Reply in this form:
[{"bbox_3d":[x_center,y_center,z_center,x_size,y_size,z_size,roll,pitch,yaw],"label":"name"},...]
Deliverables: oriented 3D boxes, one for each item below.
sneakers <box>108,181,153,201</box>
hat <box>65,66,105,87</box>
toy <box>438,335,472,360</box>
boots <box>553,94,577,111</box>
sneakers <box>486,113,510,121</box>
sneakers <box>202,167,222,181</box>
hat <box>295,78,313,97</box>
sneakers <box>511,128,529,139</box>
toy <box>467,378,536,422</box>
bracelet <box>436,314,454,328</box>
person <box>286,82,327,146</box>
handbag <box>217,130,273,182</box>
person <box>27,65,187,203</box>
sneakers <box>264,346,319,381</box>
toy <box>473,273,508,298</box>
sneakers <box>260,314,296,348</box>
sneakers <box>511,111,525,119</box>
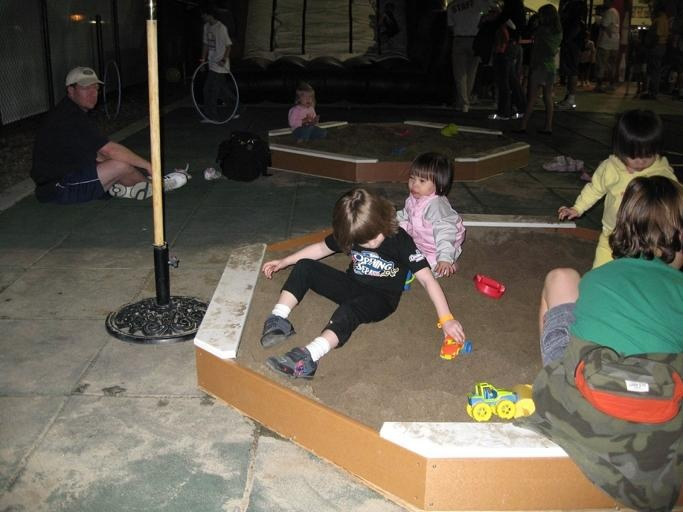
[{"bbox_3d":[-2.070,-0.651,5.039,0.511,0.175,0.203,6,15,-7],"label":"sneakers"},{"bbox_3d":[-2.319,-1.598,4.458,0.240,0.165,0.442,-9,22,-26],"label":"hat"},{"bbox_3d":[0.576,0.444,2.500,0.179,0.108,0.103,0,20,-3],"label":"toy"},{"bbox_3d":[4.814,-3.316,10.762,0.408,0.288,0.476,9,21,22],"label":"boots"},{"bbox_3d":[3.035,-2.678,9.618,0.495,0.202,0.160,7,33,22],"label":"sneakers"},{"bbox_3d":[-1.488,-0.944,5.757,0.202,0.087,0.150,2,31,-5],"label":"sneakers"},{"bbox_3d":[-0.511,-2.204,6.595,0.178,0.161,0.298,6,20,12],"label":"hat"},{"bbox_3d":[2.860,-1.979,8.085,0.210,0.144,0.411,-13,18,3],"label":"sneakers"},{"bbox_3d":[0.682,0.614,2.143,0.266,0.122,0.136,-1,21,3],"label":"toy"},{"bbox_3d":[0.506,0.316,2.460,0.083,0.032,0.080,-29,-12,-22],"label":"bracelet"},{"bbox_3d":[-0.459,-1.933,6.675,0.462,0.724,0.624,-1,20,-6],"label":"person"},{"bbox_3d":[-1.128,-1.154,5.766,0.593,0.513,0.402,-2,21,-9],"label":"handbag"},{"bbox_3d":[-2.078,-1.132,4.795,1.585,1.188,1.039,2,22,-15],"label":"person"},{"bbox_3d":[-0.224,0.478,2.254,0.211,0.090,0.110,10,34,-31],"label":"sneakers"},{"bbox_3d":[0.900,0.181,3.064,0.192,0.099,0.134,7,21,16],"label":"toy"},{"bbox_3d":[-0.325,0.368,2.498,0.123,0.134,0.191,6,20,14],"label":"sneakers"},{"bbox_3d":[3.407,-2.744,9.747,0.202,0.131,0.389,8,21,19],"label":"sneakers"}]
